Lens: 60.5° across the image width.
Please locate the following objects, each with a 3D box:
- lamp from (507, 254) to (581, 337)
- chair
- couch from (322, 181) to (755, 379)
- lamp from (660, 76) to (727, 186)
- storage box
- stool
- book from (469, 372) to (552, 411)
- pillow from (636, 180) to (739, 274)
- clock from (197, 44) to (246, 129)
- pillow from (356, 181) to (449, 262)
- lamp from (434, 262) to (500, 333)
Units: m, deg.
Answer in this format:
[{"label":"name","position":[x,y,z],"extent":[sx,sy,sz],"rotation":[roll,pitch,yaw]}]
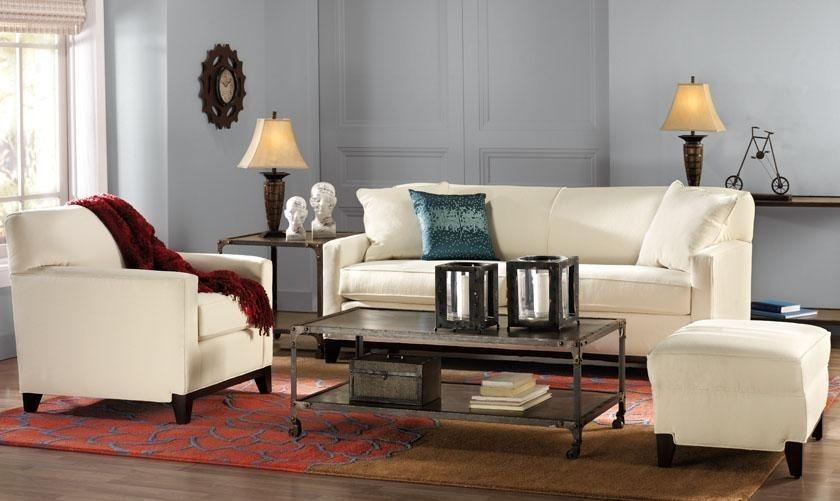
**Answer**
[{"label":"lamp","position":[0.765,0.243,3.960],"extent":[0.558,0.357,0.518],"rotation":[0,-3,14]},{"label":"chair","position":[-1.631,0.292,4.794],"extent":[1.527,1.246,1.401],"rotation":[1,3,17]},{"label":"couch","position":[0.884,0.126,5.508],"extent":[2.998,1.227,1.313],"rotation":[2,11,30]},{"label":"lamp","position":[2.243,-0.984,5.930],"extent":[0.478,0.897,0.517],"rotation":[2,13,16]},{"label":"storage box","position":[-0.103,0.722,4.005],"extent":[0.474,0.219,0.346],"rotation":[-2,-2,33]},{"label":"stool","position":[1.648,0.637,3.657],"extent":[0.845,0.603,0.808],"rotation":[1,5,26]},{"label":"book","position":[0.454,0.725,3.821],"extent":[0.254,0.083,0.258],"rotation":[1,4,31]},{"label":"pillow","position":[1.969,-0.123,4.996],"extent":[0.211,0.611,0.665],"rotation":[31,-8,-24]},{"label":"clock","position":[-1.779,-1.470,6.415],"extent":[0.138,0.764,0.544],"rotation":[3,12,18]},{"label":"pillow","position":[-0.122,-0.207,5.519],"extent":[0.770,0.525,0.350],"rotation":[-6,6,-5]},{"label":"lamp","position":[0.244,0.245,3.849],"extent":[0.414,0.440,0.371],"rotation":[0,2,13]}]
